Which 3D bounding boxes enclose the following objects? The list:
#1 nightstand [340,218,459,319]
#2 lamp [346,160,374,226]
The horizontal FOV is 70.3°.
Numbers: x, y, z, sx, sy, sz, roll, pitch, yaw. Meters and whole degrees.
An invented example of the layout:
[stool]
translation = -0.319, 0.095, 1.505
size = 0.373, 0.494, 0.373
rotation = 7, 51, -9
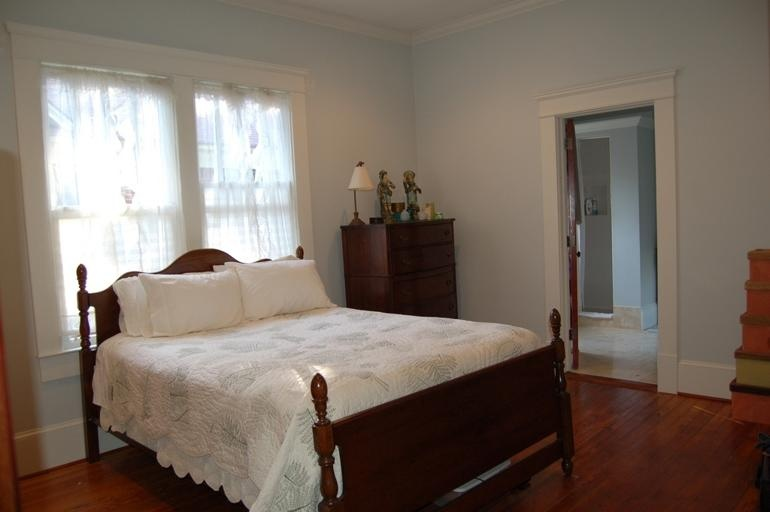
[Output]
[nightstand]
translation = 0.233, 0.195, 6.005
size = 0.976, 1.142, 0.616
rotation = -7, 6, -42
[lamp]
translation = -0.257, -0.685, 5.904
size = 0.260, 0.671, 0.599
rotation = -4, 11, -1
